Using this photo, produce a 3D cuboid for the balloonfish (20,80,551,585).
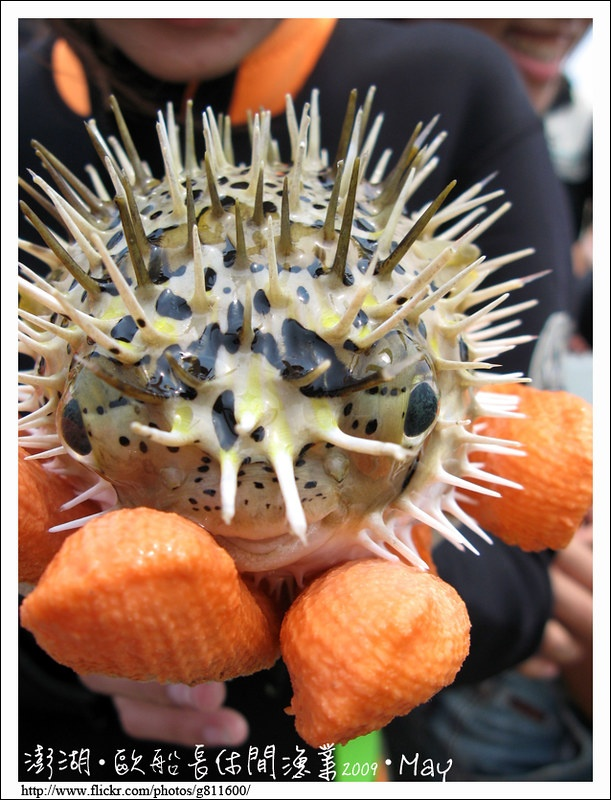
[{"bbox_3d":[-0.038,-0.027,0.788,0.496,0.396,0.443,-11,14,-36],"label":"balloonfish"}]
